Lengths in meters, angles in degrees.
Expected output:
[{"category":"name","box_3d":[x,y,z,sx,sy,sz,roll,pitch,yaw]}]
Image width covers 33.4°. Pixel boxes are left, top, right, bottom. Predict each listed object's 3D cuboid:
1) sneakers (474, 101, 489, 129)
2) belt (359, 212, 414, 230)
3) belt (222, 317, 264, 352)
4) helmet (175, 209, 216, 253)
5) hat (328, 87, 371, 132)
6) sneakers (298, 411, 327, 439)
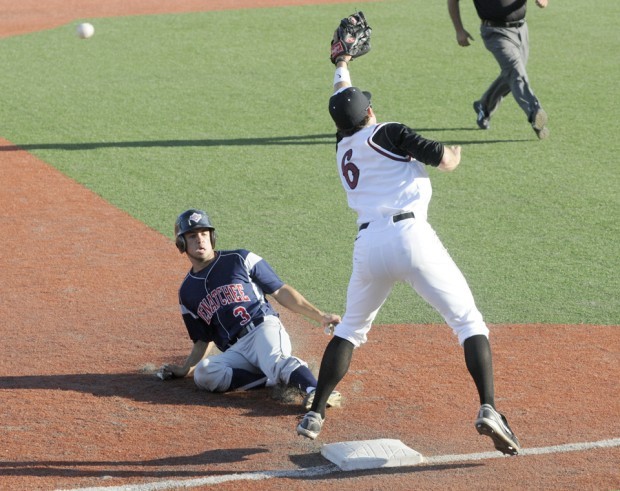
[{"category":"sneakers","box_3d":[1.988,-1.524,12.031,0.109,0.306,0.142,-31,0,-43]},{"category":"belt","box_3d":[0.574,-0.211,7.641,0.241,0.052,0.175,-23,-6,23]},{"category":"belt","box_3d":[-0.569,0.715,8.549,0.342,0.082,0.250,-38,18,-11]},{"category":"helmet","box_3d":[-0.981,-0.147,8.718,0.300,0.281,0.380,-9,-1,-15]},{"category":"hat","box_3d":[0.318,-1.019,7.884,0.288,0.193,0.357,-12,46,26]},{"category":"sneakers","box_3d":[-0.002,1.321,7.625,0.149,0.196,0.168,11,37,19]}]
